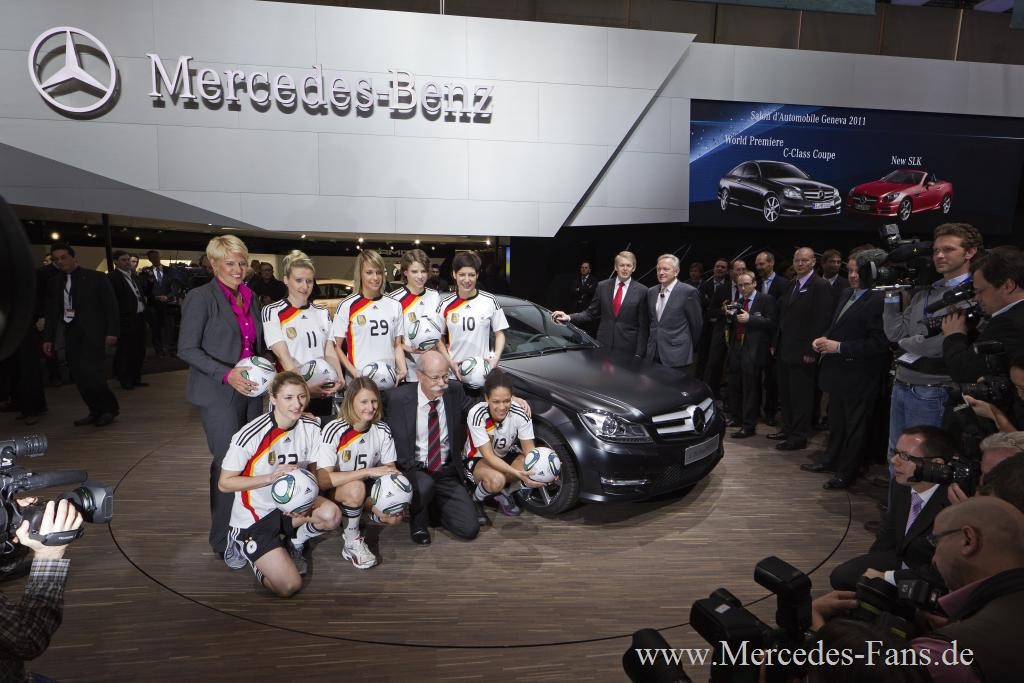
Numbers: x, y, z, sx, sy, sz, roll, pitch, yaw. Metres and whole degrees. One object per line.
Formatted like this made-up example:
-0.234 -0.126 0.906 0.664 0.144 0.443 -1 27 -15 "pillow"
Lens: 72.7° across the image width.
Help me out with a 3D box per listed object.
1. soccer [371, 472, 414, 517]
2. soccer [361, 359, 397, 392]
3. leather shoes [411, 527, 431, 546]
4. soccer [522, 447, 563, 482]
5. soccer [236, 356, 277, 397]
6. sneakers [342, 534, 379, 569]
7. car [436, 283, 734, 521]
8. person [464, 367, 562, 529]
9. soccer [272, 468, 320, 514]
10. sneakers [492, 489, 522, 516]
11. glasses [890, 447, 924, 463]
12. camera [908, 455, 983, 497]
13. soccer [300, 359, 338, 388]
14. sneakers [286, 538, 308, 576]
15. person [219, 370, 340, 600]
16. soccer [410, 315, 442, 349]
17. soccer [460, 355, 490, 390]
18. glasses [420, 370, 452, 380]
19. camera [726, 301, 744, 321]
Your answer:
-0.976 1.216 5.601 0.304 0.323 0.312 2 27 -16 "soccer"
-1.192 0.283 6.161 0.212 0.231 0.280 -1 -6 35 "soccer"
-0.758 1.614 5.814 0.167 0.114 0.131 -2 12 -8 "leather shoes"
0.249 1.038 5.863 0.295 0.271 0.234 -2 22 -12 "soccer"
-2.013 0.273 5.482 0.265 0.295 0.352 4 -1 -16 "soccer"
-1.224 1.658 5.579 0.329 0.173 0.160 10 10 38 "sneakers"
0.379 0.333 6.609 3.119 1.116 1.450 10 16 40 "car"
0.015 0.963 6.027 0.614 1.186 0.960 -17 35 -18 "person"
-1.623 1.132 5.307 0.340 0.277 0.336 -22 -20 23 "soccer"
-0.033 1.411 6.220 0.343 0.269 0.141 2 15 14 "sneakers"
2.663 0.757 4.654 0.229 0.072 0.229 6 -2 -23 "glasses"
2.655 0.799 4.246 0.224 0.142 0.219 5 13 20 "camera"
-1.654 0.280 5.963 0.240 0.223 0.194 -22 38 22 "soccer"
-1.672 1.675 5.429 0.134 0.337 0.109 -14 3 34 "sneakers"
-1.780 1.052 5.280 0.820 1.611 0.552 -6 13 -27 "person"
-0.824 -0.101 6.438 0.230 0.308 0.311 -2 31 -20 "soccer"
-0.321 0.245 6.353 0.224 0.294 0.292 39 10 11 "soccer"
-0.661 0.286 5.883 0.263 0.098 0.106 0 12 1 "glasses"
2.550 -0.356 7.913 0.186 0.113 0.274 4 11 15 "camera"
